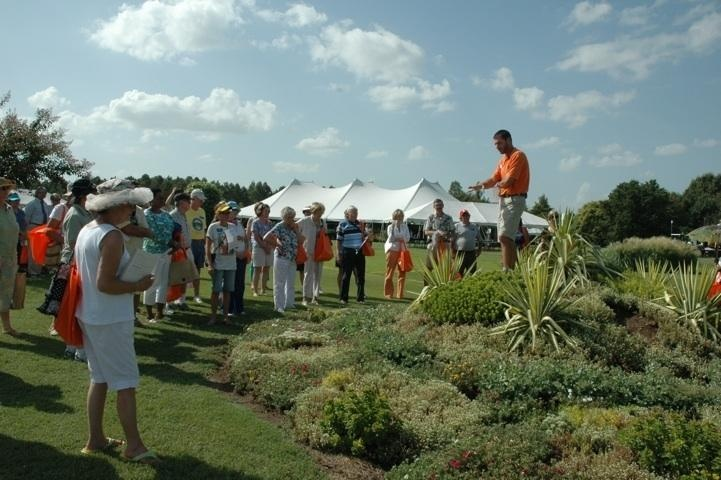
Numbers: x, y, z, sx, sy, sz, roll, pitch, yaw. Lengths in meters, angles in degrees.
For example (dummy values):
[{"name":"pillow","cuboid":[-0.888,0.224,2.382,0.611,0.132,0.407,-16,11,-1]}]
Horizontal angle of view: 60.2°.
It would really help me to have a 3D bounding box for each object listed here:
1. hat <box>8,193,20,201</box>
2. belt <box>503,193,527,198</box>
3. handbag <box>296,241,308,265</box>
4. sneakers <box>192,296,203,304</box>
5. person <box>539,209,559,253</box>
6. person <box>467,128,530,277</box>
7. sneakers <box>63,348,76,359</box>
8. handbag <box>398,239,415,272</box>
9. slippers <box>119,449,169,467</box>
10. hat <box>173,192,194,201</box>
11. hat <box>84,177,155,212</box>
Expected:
[{"name":"hat","cuboid":[-6.793,-0.861,12.177,0.170,0.137,0.238,1,-12,-33]},{"name":"belt","cuboid":[2.902,-0.854,11.594,0.529,0.076,0.242,0,-2,40]},{"name":"handbag","cuboid":[-1.268,0.263,13.336,0.213,0.585,0.512,-5,-1,4]},{"name":"sneakers","cuboid":[-3.576,1.314,13.675,0.101,0.124,0.273,1,-4,-38]},{"name":"person","cuboid":[3.692,-0.198,12.125,0.332,0.841,0.852,1,-2,16]},{"name":"person","cuboid":[2.750,-0.757,11.676,0.757,2.642,0.691,1,-2,13]},{"name":"sneakers","cuboid":[-4.427,1.732,9.478,0.127,0.073,0.115,11,-23,9]},{"name":"handbag","cuboid":[1.118,0.403,15.220,0.311,0.782,0.750,1,-2,7]},{"name":"slippers","cuboid":[-2.526,2.528,7.275,0.416,0.132,0.200,4,8,4]},{"name":"hat","cuboid":[-3.500,-0.853,12.096,0.297,0.104,0.218,-4,0,42]},{"name":"hat","cuboid":[-3.022,-0.552,7.773,0.850,0.286,0.881,0,14,4]}]
